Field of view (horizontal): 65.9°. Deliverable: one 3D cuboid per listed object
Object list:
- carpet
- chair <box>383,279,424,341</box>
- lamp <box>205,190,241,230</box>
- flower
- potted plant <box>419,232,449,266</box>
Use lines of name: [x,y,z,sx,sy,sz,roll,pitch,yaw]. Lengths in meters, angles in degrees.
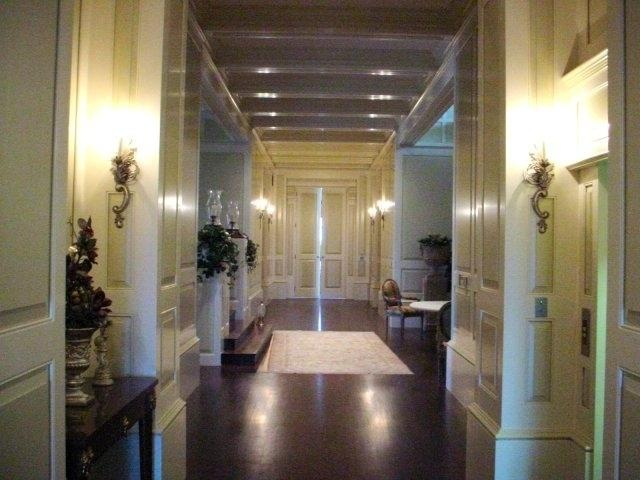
carpet: [0.164,1.646,7.365,1.931,0.037,2.586,1,1,-2]
chair: [1.418,1.165,8.649,0.585,0.981,0.585,2,-4,-39]
lamp: [-1.461,-0.458,7.464,0.263,0.660,0.715,-4,-4,44]
flower: [-1.435,0.205,3.058,0.248,0.673,0.263,0,1,-27]
potted plant: [2.050,0.173,8.891,0.485,0.390,0.538,0,-5,0]
